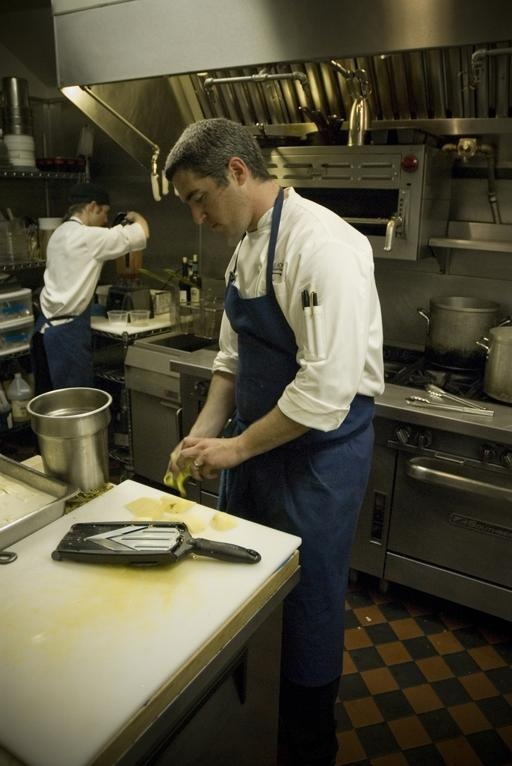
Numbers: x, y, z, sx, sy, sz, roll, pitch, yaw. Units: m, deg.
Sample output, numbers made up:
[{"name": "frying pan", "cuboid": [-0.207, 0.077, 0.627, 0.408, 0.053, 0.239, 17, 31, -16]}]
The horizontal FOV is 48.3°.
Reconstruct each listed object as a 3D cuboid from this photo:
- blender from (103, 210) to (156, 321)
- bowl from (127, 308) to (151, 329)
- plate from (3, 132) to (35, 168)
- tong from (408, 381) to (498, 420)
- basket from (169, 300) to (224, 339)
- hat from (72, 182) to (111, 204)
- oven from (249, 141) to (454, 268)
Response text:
[{"name": "blender", "cuboid": [-0.800, -0.705, 3.522, 0.259, 0.676, 0.262, -14, 16, -41]}, {"name": "bowl", "cuboid": [-0.682, -0.378, 3.324, 0.107, 0.070, 0.107, 0, 5, 0]}, {"name": "plate", "cuboid": [-1.473, -1.445, 3.578, 0.207, 0.218, 0.206, 2, 13, 2]}, {"name": "tong", "cuboid": [0.676, 0.068, 1.991, 0.107, 0.048, 0.247, -30, 33, -36]}, {"name": "basket", "cuboid": [-0.325, -0.338, 3.018, 0.274, 0.131, 0.172, 9, 15, 37]}, {"name": "hat", "cuboid": [-0.897, -1.032, 3.126, 0.121, 0.084, 0.156, 25, 29, 38]}, {"name": "oven", "cuboid": [0.433, -0.805, 2.521, 0.723, 0.437, 0.499, 15, 22, 32]}]
